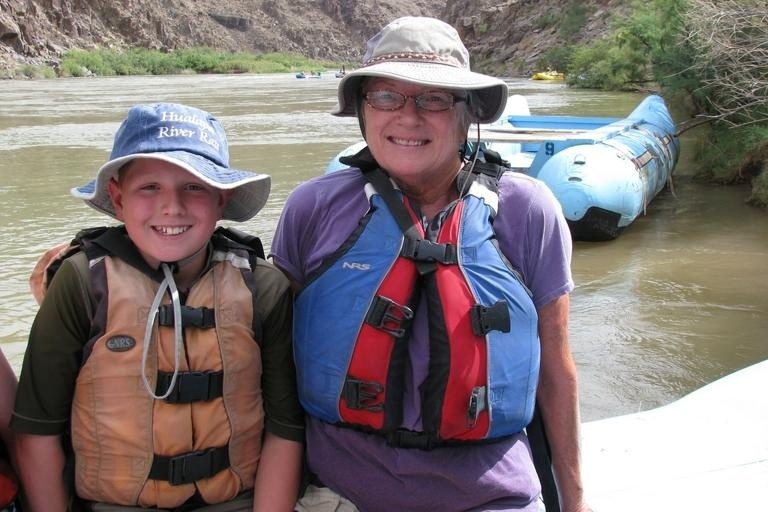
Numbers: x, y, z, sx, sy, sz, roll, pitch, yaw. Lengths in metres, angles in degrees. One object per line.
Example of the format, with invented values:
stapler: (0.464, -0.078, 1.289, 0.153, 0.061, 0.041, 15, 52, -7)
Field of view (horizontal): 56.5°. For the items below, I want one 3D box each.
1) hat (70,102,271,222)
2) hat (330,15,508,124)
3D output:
hat: (-0.910, -0.476, 3.303, 0.729, 0.388, 0.660, 4, -13, -9)
hat: (0.153, -0.891, 3.498, 0.847, 0.423, 0.904, 3, -3, -1)
